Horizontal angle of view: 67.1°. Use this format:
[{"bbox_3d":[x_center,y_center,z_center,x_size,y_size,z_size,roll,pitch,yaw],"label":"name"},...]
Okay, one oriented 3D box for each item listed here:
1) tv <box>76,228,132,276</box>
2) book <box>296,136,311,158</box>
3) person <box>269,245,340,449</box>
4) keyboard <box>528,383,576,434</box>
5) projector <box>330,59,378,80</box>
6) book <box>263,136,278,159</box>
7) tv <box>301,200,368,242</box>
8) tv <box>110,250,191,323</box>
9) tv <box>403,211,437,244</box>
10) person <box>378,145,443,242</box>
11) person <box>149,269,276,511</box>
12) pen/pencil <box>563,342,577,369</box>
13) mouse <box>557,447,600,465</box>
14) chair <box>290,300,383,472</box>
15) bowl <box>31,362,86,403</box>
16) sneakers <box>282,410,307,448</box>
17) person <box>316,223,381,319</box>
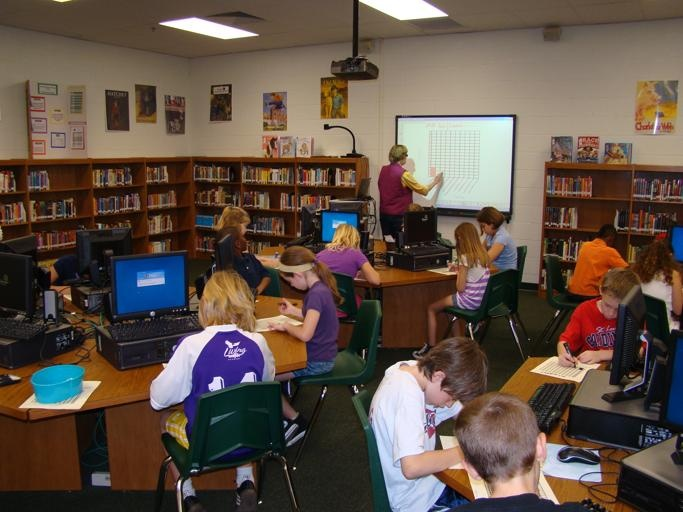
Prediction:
[{"bbox_3d":[-1.829,-0.005,3.992,0.400,0.400,0.138,-6,11,-38],"label":"tv"},{"bbox_3d":[-0.614,-1.775,8.363,0.309,0.316,0.116,3,9,32],"label":"book"},{"bbox_3d":[-0.297,0.631,3.593,0.649,1.337,0.600,4,-7,0],"label":"person"},{"bbox_3d":[1.083,0.737,2.641,0.179,0.058,0.406,-7,3,33],"label":"keyboard"},{"bbox_3d":[0.212,-2.198,6.151,0.422,0.176,0.435,5,10,18],"label":"projector"},{"bbox_3d":[-1.193,-1.857,8.673,0.374,0.365,0.118,5,10,39],"label":"book"},{"bbox_3d":[-0.060,-0.422,5.890,0.537,0.383,0.552,1,3,23],"label":"tv"},{"bbox_3d":[-1.219,0.203,3.242,0.413,0.365,0.037,-4,4,-28],"label":"tv"},{"bbox_3d":[0.798,-0.293,5.282,0.312,0.242,0.043,-6,8,-39],"label":"tv"},{"bbox_3d":[0.889,-0.640,7.441,0.796,1.863,0.758,18,20,40],"label":"person"},{"bbox_3d":[-0.667,0.551,2.637,0.627,0.874,0.481,-3,8,-9],"label":"person"},{"bbox_3d":[1.369,0.599,3.076,0.024,0.132,0.027,-13,-26,-7],"label":"pen/pencil"},{"bbox_3d":[1.022,0.857,2.208,0.128,0.037,0.080,-3,6,14],"label":"mouse"},{"bbox_3d":[-0.069,0.854,3.696,0.631,1.030,0.678,0,7,-19],"label":"chair"},{"bbox_3d":[-1.432,0.637,2.572,0.166,0.103,0.218,3,4,17],"label":"bowl"},{"bbox_3d":[-0.319,1.176,3.490,0.120,0.162,0.362,-3,-3,18],"label":"sneakers"},{"bbox_3d":[-0.013,0.229,4.898,0.617,1.021,0.527,1,10,-9],"label":"person"}]
